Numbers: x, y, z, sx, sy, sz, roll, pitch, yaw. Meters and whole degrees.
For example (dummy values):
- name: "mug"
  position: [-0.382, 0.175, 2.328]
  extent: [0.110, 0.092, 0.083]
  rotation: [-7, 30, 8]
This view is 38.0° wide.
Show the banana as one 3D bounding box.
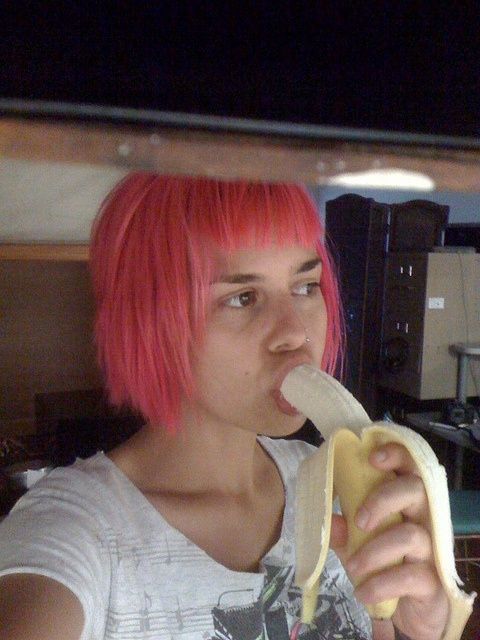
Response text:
- name: "banana"
  position: [0.153, 0.193, 0.823]
  extent: [0.221, 0.352, 0.109]
  rotation: [-7, -2, 15]

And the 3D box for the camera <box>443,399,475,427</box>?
- name: "camera"
  position: [0.246, 0.107, 0.778]
  extent: [0.036, 0.032, 0.035]
  rotation: [-2, 3, 8]
